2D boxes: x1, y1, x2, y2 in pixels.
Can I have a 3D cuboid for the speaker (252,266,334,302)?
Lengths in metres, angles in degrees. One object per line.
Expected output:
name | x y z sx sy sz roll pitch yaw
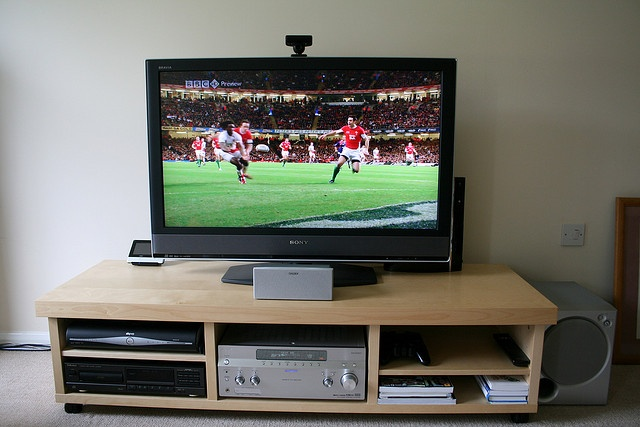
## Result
speaker | -0.145 0.378 2.689 0.385 0.123 0.223 0 1 2

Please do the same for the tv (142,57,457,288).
tv | -0.105 -0.266 2.878 1.823 0.922 0.476 0 6 0
